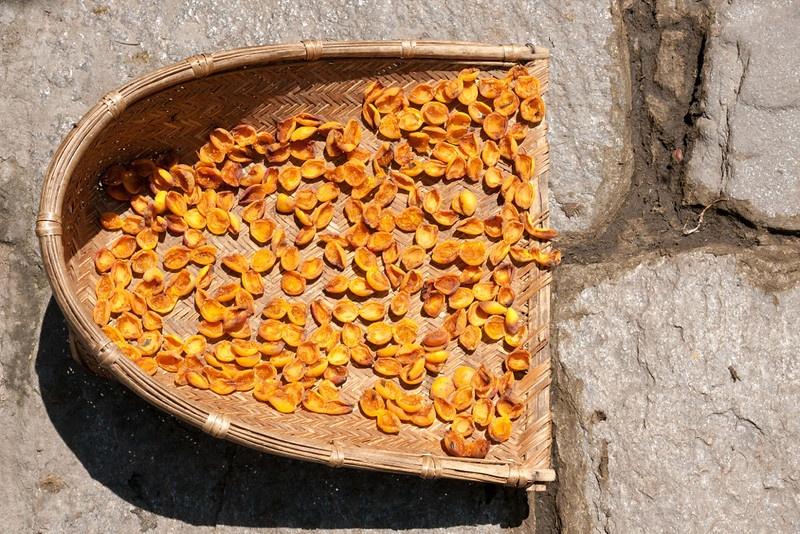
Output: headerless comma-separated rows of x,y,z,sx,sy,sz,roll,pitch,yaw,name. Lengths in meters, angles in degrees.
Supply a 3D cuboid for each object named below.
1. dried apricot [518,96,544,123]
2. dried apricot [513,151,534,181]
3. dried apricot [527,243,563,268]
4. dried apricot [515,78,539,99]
0.660,-0.789,6.042,0.115,0.051,0.131,3,103,-6,dried apricot
0.618,-0.501,6.018,0.091,0.039,0.133,-1,89,0,dried apricot
0.719,-0.050,6.027,0.134,0.054,0.103,30,83,19,dried apricot
0.632,-0.901,6.070,0.107,0.040,0.099,-1,100,3,dried apricot
